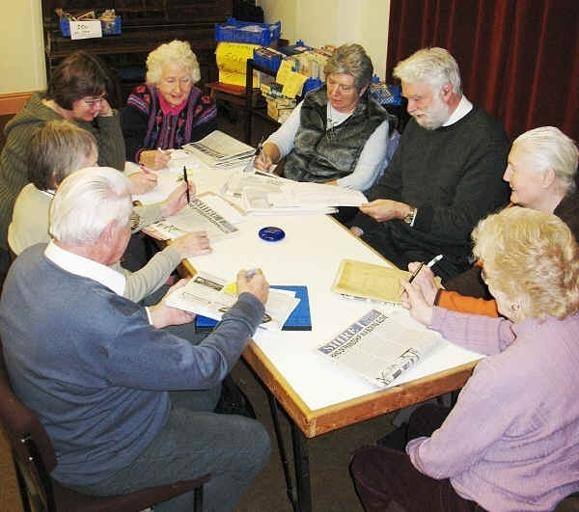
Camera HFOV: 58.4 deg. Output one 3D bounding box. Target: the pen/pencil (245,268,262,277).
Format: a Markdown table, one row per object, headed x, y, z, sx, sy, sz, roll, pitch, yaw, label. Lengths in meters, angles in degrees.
| x | y | z | sx | sy | sz | roll | pitch | yaw | label |
| --- | --- | --- | --- | --- | --- | --- | --- | --- | --- |
| -0.111 | 0.049 | 1.647 | 0.031 | 0.009 | 0.039 | 9 | 17 | 27 | pen/pencil |
